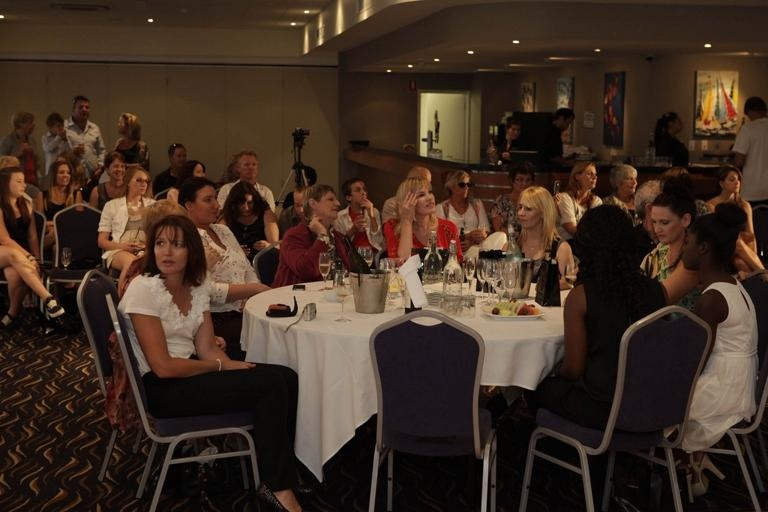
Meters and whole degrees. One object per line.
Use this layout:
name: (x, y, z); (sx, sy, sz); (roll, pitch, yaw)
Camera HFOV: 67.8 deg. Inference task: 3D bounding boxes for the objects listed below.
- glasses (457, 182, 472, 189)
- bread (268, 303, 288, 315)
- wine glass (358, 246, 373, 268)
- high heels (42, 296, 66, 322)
glasses: (0.850, -0.770, 6.167); (0.118, 0.045, 0.119); (-1, 4, -25)
bread: (-0.597, 0.299, 3.278); (0.060, 0.038, 0.086); (1, 5, 5)
wine glass: (-0.119, 0.005, 3.659); (0.112, 0.194, 0.118); (-1, 5, -4)
high heels: (-3.325, 0.515, 5.744); (0.151, 0.189, 0.404); (-6, 7, -34)
